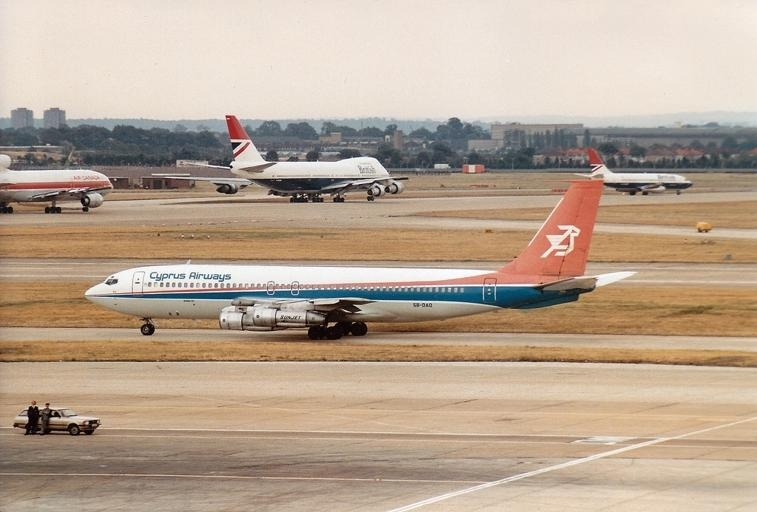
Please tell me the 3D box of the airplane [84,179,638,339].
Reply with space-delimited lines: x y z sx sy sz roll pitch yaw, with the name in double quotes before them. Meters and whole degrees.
"airplane" -1.741 0.280 92.974 36.931 10.601 6.062 0 6 5
